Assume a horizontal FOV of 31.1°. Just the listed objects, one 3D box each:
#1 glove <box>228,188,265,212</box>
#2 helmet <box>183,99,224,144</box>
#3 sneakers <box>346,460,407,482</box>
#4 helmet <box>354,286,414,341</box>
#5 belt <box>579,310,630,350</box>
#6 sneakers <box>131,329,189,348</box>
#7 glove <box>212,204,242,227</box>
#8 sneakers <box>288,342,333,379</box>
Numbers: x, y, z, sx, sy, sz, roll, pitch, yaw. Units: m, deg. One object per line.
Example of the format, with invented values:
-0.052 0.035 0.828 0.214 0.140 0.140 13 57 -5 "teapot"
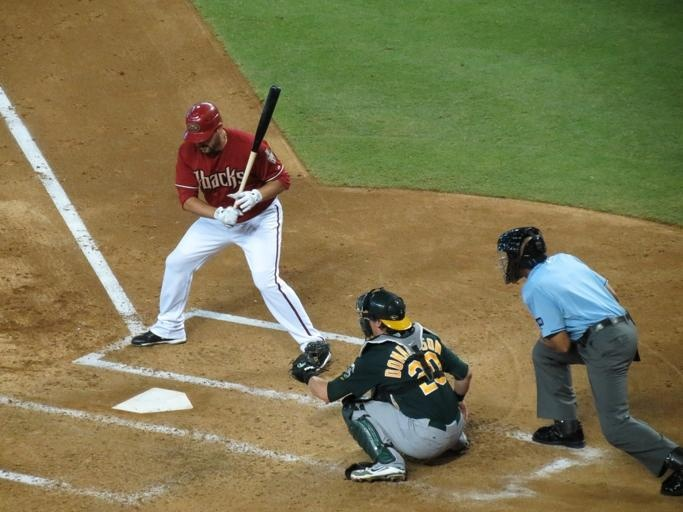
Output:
-1.049 -0.604 13.608 0.379 0.235 0.248 -11 19 -22 "glove"
-1.567 -1.446 13.509 0.411 0.431 0.280 -19 23 -36 "helmet"
0.364 2.190 12.536 0.705 0.209 0.201 3 -12 3 "sneakers"
0.523 0.541 12.575 0.521 0.430 0.629 -15 38 -41 "helmet"
2.666 0.744 12.471 0.466 0.095 0.392 -20 2 20 "belt"
-2.164 0.956 14.261 0.689 0.190 0.196 4 9 -13 "sneakers"
-1.310 -0.443 13.561 0.245 0.192 0.289 12 -2 -39 "glove"
-0.342 1.107 13.256 0.296 0.186 0.491 -8 24 37 "sneakers"
